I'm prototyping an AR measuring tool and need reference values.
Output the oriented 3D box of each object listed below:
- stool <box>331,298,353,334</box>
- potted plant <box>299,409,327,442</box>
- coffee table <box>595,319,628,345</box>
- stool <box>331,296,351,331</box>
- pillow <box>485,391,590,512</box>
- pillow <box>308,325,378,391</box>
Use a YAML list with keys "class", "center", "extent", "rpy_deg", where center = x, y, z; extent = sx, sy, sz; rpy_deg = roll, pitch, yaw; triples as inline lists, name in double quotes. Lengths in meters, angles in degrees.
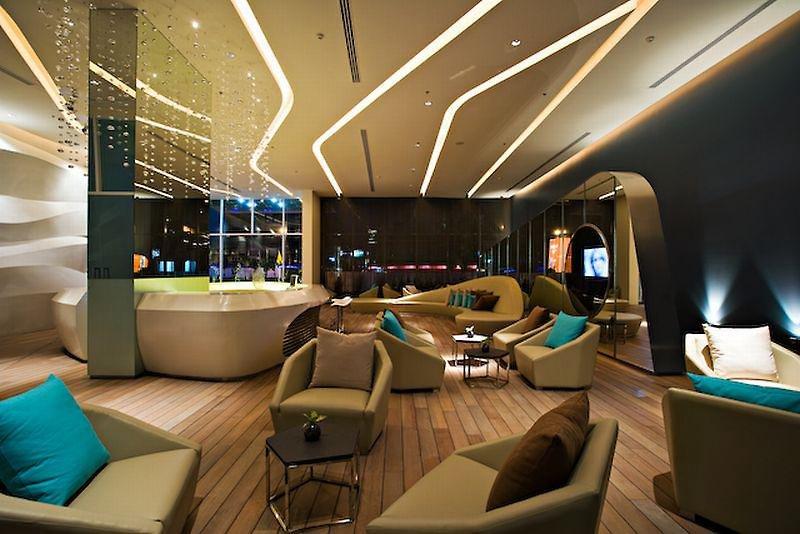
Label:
- class: "stool"
  center: [-1.286, 1.111, 11.260]
  extent: [0.654, 0.987, 0.480]
  rpy_deg: [0, -3, 3]
- class: "potted plant"
  center: [-0.843, 1.531, 4.872]
  extent: [0.242, 0.316, 0.252]
  rpy_deg: [2, -7, -13]
- class: "coffee table"
  center: [3.411, 1.019, 8.062]
  extent: [0.381, 0.338, 0.517]
  rpy_deg: [-1, 2, 18]
- class: "stool"
  center: [-1.332, 1.089, 11.504]
  extent: [0.667, 0.922, 0.346]
  rpy_deg: [0, -3, 0]
- class: "pillow"
  center: [1.270, 1.617, 4.334]
  extent: [0.531, 0.933, 0.982]
  rpy_deg: [6, 5, 36]
- class: "pillow"
  center: [-0.644, 1.067, 5.712]
  extent: [0.659, 0.673, 0.272]
  rpy_deg: [4, -12, 4]
